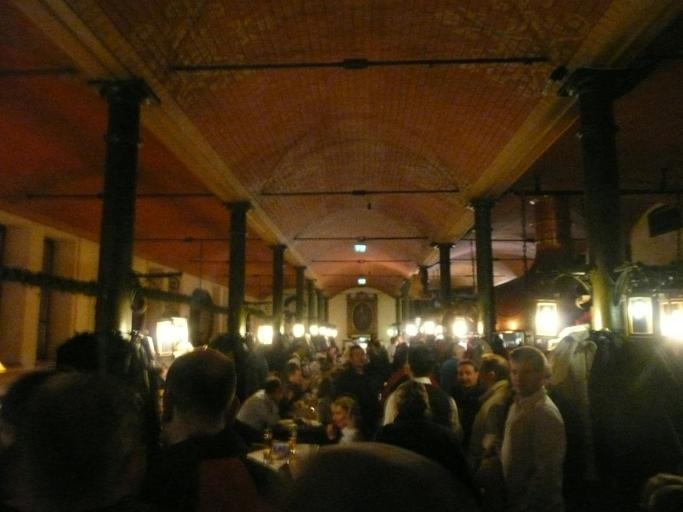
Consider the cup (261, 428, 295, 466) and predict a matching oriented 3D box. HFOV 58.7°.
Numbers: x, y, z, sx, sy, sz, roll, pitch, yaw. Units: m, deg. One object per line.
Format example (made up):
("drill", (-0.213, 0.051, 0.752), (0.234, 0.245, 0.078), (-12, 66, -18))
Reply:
("cup", (-0.669, 2.081, 6.574), (0.312, 0.168, 0.294), (0, -4, 0))
